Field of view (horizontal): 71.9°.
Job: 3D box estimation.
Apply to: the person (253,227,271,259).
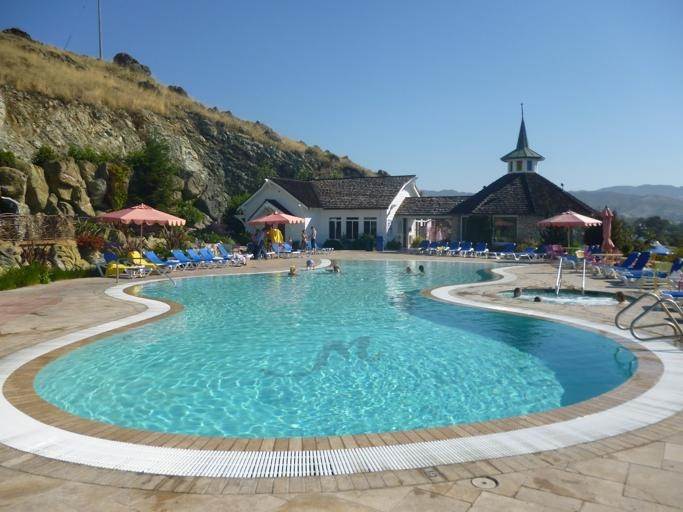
[{"bbox_3d":[-6.144,-0.949,35.294,1.059,2.012,1.434,-1,6,-10],"label":"person"}]
